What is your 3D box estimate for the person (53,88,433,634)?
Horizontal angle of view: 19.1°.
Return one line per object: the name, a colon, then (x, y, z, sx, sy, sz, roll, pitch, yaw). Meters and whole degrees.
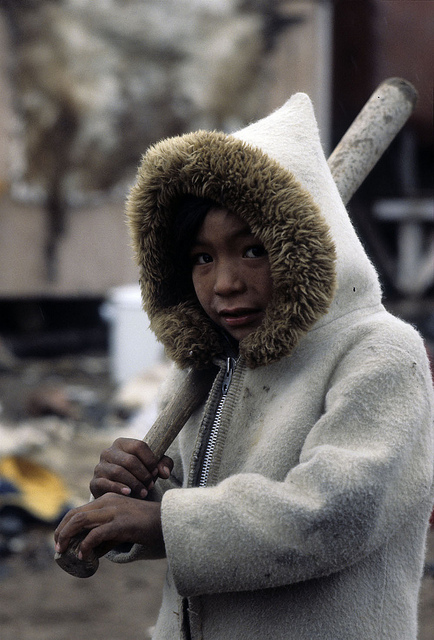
person: (0.085, 0.164, 3.209, 0.835, 1.274, 0.882, -2, 28, -6)
